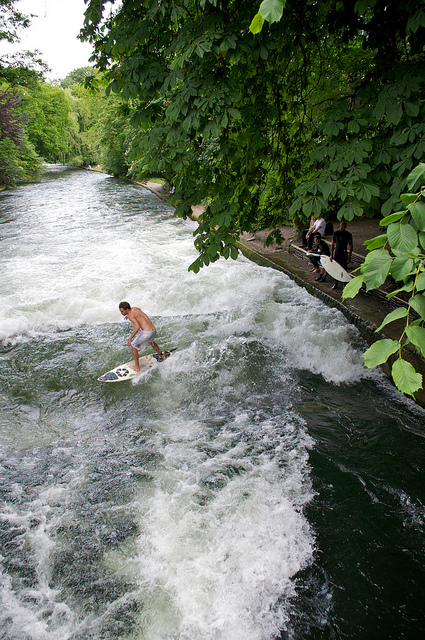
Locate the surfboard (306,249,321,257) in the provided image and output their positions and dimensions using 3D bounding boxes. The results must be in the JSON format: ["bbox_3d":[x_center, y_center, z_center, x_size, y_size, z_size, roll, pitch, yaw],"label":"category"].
[{"bbox_3d":[2.681,-1.771,12.372,0.438,0.133,0.432,-8,15,-42],"label":"surfboard"}]

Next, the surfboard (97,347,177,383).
[{"bbox_3d":[-1.327,0.830,8.586,0.385,0.210,1.768,37,39,25],"label":"surfboard"}]

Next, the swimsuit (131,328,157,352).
[{"bbox_3d":[-1.265,0.375,8.553,0.233,0.407,0.349,40,26,17],"label":"swimsuit"}]

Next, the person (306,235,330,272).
[{"bbox_3d":[2.760,-1.772,12.299,0.801,1.208,0.533,-2,18,3],"label":"person"}]

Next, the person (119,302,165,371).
[{"bbox_3d":[-1.415,0.217,8.533,0.784,1.260,0.656,14,31,35],"label":"person"}]
